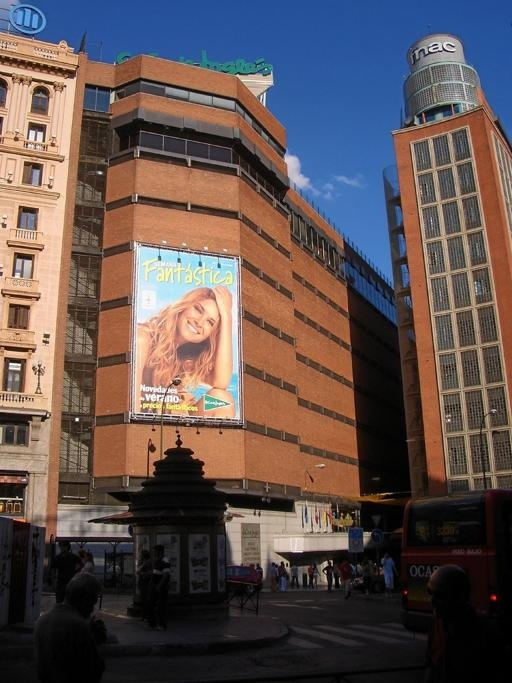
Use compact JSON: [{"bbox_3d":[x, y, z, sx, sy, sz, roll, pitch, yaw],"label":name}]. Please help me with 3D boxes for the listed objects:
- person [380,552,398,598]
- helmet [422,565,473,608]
[{"bbox_3d":[6.150,10.659,29.930,0.546,1.636,0.469,-3,-11,10],"label":"person"},{"bbox_3d":[1.325,1.676,4.462,0.274,0.256,0.246,-6,-18,12],"label":"helmet"}]
